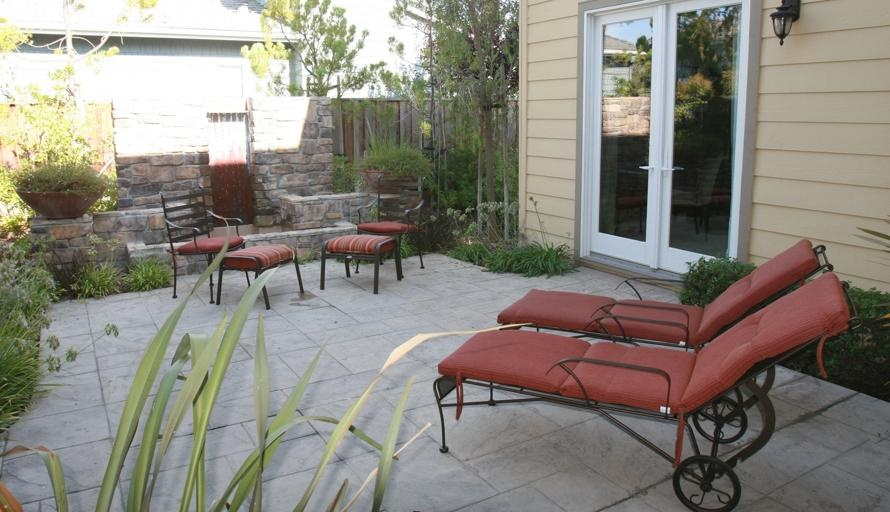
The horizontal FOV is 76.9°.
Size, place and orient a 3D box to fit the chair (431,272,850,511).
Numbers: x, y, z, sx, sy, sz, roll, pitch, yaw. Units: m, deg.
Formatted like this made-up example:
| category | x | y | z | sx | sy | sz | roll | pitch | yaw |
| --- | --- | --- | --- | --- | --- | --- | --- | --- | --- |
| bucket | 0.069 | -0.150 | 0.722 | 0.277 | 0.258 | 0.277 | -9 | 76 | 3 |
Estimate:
| category | x | y | z | sx | sy | sz | roll | pitch | yaw |
| --- | --- | --- | --- | --- | --- | --- | --- | --- | --- |
| chair | 1.516 | 0.856 | 4.523 | 3.096 | 1.548 | 1.547 | 5 | 15 | 22 |

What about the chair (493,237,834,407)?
| category | x | y | z | sx | sy | sz | roll | pitch | yaw |
| --- | --- | --- | --- | --- | --- | --- | --- | --- | --- |
| chair | 1.868 | 0.437 | 5.147 | 2.816 | 1.063 | 1.265 | 6 | 19 | 20 |

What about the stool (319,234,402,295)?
| category | x | y | z | sx | sy | sz | roll | pitch | yaw |
| --- | --- | --- | --- | --- | --- | --- | --- | --- | --- |
| stool | -1.077 | -0.023 | 7.666 | 1.050 | 0.743 | 0.866 | 1 | 5 | 21 |
